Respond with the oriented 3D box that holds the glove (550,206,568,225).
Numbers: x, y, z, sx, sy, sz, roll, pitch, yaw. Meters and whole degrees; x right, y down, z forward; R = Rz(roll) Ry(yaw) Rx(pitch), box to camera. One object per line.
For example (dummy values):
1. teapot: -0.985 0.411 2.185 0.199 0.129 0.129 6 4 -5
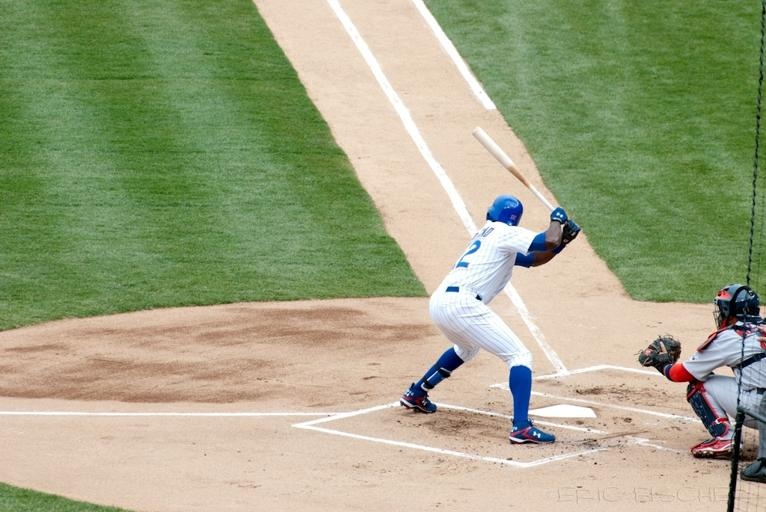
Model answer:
1. glove: 3.020 -0.645 26.861 0.276 0.249 0.332 2 29 7
